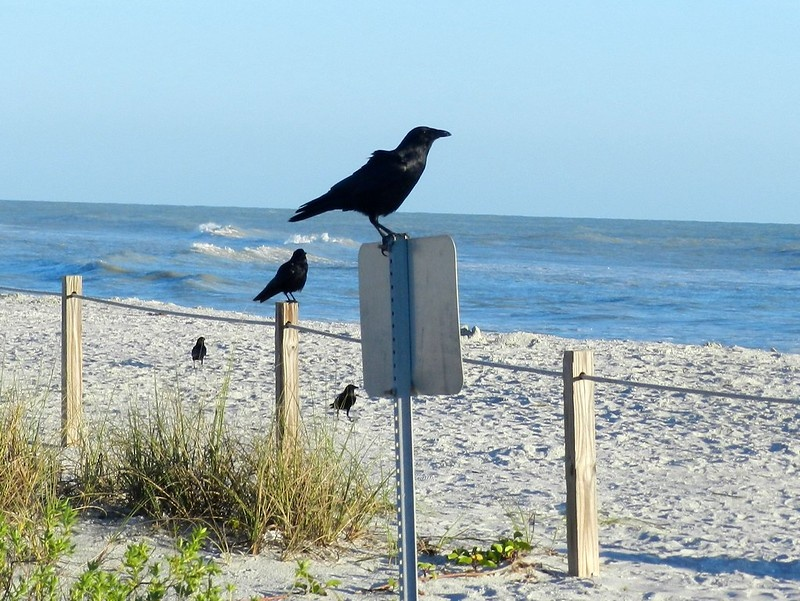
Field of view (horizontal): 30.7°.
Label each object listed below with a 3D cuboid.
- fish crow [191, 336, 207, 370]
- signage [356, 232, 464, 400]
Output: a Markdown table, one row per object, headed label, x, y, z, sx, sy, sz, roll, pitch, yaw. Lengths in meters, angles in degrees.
| label | x | y | z | sx | sy | sz | roll | pitch | yaw |
| --- | --- | --- | --- | --- | --- | --- | --- | --- | --- |
| fish crow | -2.882 | 0.798 | 20.986 | 0.161 | 0.372 | 0.367 | 10 | -46 | -26 |
| signage | 0.103 | 0.158 | 13.095 | 1.042 | 1.528 | 0.409 | 7 | 8 | 2 |
